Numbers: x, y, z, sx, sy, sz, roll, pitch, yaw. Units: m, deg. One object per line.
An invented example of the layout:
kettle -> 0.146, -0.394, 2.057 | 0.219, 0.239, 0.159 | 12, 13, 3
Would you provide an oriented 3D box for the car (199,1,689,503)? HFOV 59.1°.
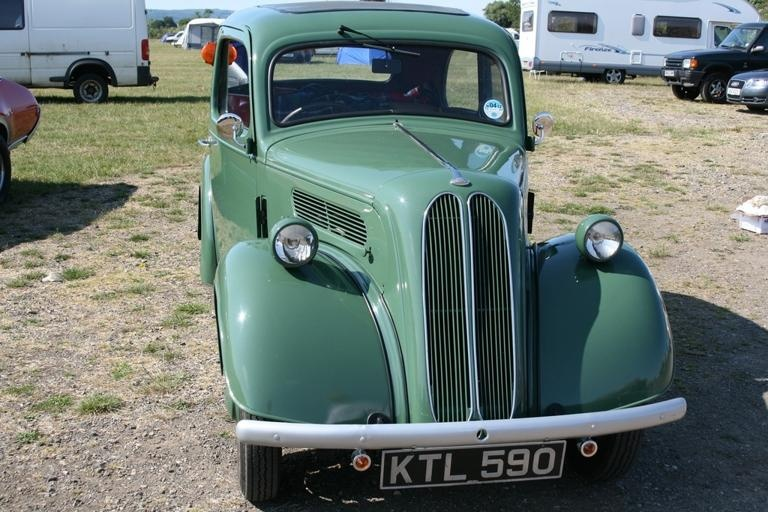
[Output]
car -> 0.103, -0.609, 5.970 | 2.320, 2.717, 4.815 | -2, 23, -10
